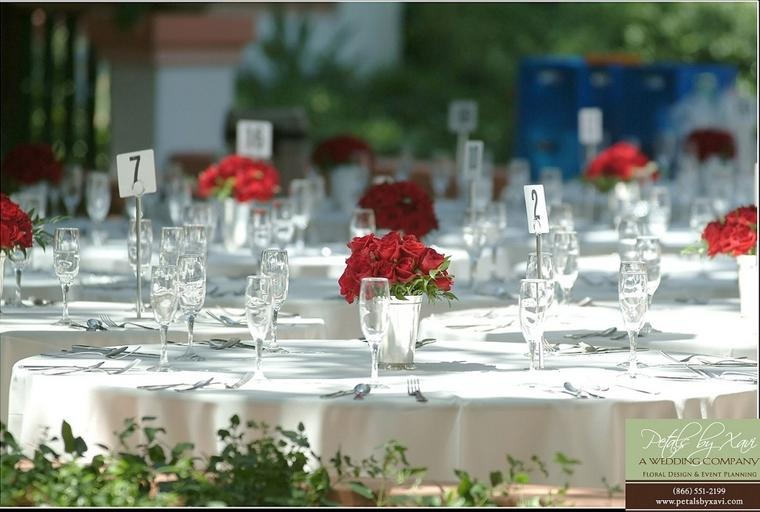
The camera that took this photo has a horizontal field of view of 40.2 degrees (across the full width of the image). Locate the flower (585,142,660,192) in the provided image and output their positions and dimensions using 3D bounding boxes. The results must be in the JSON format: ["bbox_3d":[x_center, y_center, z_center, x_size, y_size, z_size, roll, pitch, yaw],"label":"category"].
[{"bbox_3d":[1.939,-0.702,8.471,0.456,0.299,0.438,5,16,28],"label":"flower"}]

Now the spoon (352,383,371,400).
[{"bbox_3d":[-0.059,0.474,3.637,0.064,0.051,0.108,-1,-5,3],"label":"spoon"}]

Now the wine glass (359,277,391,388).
[{"bbox_3d":[-0.016,0.274,3.714,0.099,0.379,0.177,-1,-4,1],"label":"wine glass"}]
